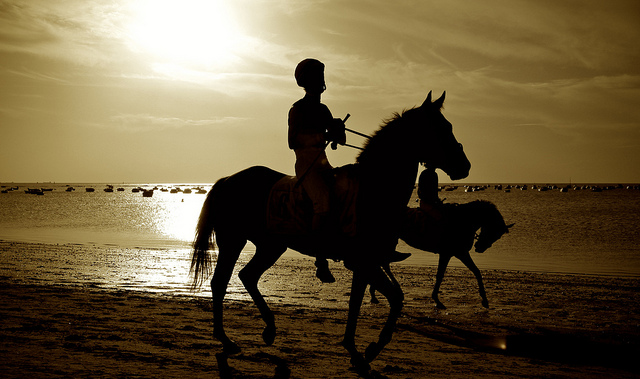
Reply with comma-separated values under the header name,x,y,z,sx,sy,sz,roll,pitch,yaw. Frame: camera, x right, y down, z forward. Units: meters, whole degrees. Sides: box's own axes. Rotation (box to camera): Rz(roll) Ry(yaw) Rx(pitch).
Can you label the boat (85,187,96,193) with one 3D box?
name,x,y,z,sx,sy,sz,roll,pitch,yaw
boat,-79.190,0.108,240.730,1.152,2.198,5.107,-3,4,-43
